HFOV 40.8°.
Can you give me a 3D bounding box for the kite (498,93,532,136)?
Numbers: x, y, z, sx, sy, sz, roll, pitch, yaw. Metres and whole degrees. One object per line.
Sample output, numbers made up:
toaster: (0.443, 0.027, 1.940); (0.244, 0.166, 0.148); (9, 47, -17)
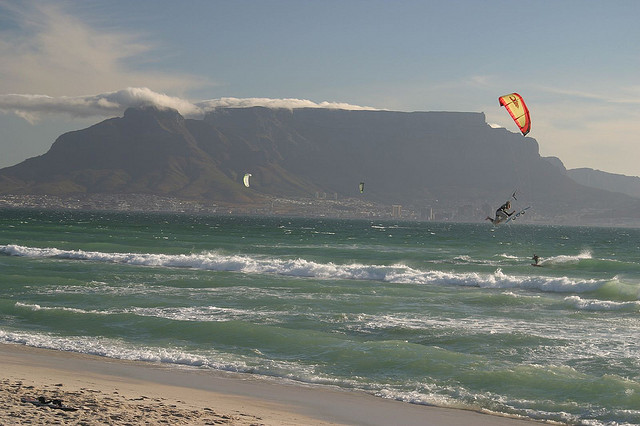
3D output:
kite: (9.308, -4.591, 40.463); (1.315, 1.920, 1.824); (5, 11, 7)
